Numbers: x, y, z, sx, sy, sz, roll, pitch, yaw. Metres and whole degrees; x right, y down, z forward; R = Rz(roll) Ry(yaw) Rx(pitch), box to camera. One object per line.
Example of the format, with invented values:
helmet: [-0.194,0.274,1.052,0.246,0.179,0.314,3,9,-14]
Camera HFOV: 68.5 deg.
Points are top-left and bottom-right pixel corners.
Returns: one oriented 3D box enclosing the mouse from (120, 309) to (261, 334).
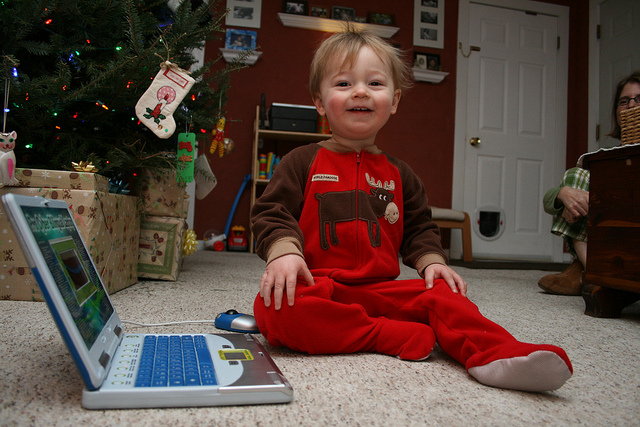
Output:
mouse: [-0.342,0.313,1.377,0.284,0.043,0.153,4,-4,-14]

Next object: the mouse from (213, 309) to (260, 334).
mouse: [-0.253,0.310,1.399,0.108,0.042,0.064,6,-1,33]

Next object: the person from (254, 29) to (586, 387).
person: [0.307,-0.023,1.604,0.766,1.157,1.083,3,-1,-26]

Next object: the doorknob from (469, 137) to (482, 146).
doorknob: [1.307,-0.598,3.973,0.056,0.058,0.080,-18,-20,37]

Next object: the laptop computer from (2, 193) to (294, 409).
laptop computer: [-0.396,0.218,1.142,0.515,0.404,0.530,1,3,-14]
